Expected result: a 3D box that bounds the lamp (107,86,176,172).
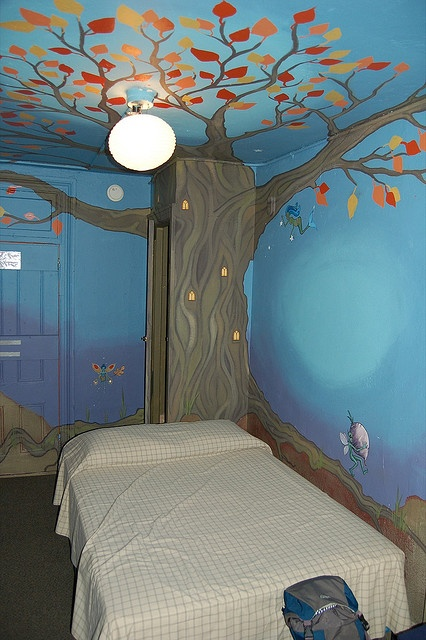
[{"bbox_3d":[-0.353,-0.899,2.186,0.324,0.445,0.330,-4,0,-5],"label":"lamp"}]
